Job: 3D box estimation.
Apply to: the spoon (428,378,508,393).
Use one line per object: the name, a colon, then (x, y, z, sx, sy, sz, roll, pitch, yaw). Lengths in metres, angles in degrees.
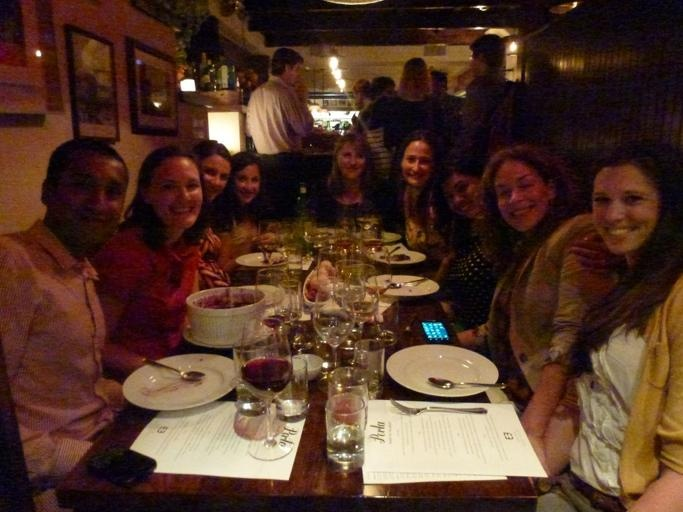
spoon: (0.341, 0.362, 1.547, 0.206, 0.022, 0.037, -4, 21, 8)
